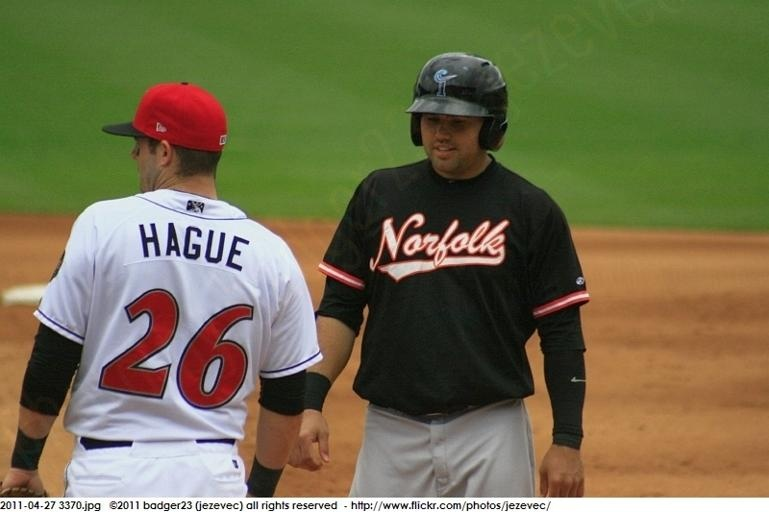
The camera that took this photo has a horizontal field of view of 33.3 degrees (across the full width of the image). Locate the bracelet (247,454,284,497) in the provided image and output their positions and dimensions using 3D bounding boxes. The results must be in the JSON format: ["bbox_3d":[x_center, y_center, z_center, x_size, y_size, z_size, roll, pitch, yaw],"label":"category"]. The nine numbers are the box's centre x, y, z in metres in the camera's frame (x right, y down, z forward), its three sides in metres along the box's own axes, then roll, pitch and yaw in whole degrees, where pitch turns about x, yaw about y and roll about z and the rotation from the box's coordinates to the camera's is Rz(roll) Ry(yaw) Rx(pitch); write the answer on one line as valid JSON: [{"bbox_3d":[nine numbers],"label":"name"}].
[{"bbox_3d":[-1.072,1.832,10.827,0.336,0.319,0.319,18,0,-10],"label":"bracelet"}]
